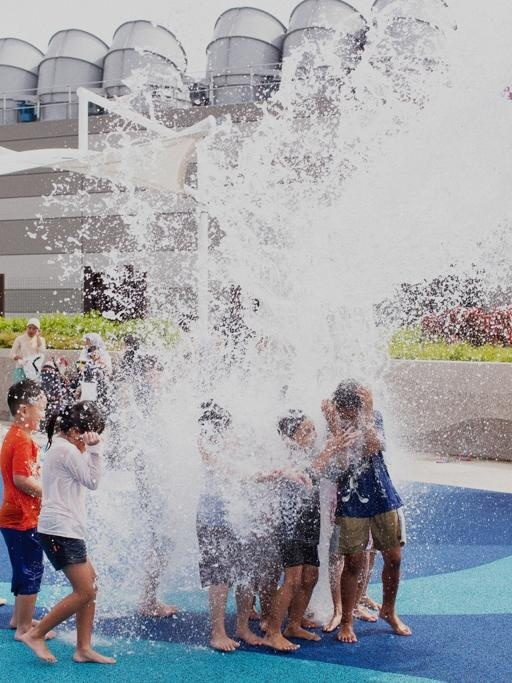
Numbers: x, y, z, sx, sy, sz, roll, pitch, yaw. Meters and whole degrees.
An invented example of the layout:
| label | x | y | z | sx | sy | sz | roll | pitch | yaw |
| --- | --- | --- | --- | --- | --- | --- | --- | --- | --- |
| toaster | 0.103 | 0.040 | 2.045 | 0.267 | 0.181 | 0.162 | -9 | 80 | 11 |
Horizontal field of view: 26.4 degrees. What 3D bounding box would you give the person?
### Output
| label | x | y | z | sx | sy | sz | roll | pitch | yaw |
| --- | --- | --- | --- | --- | --- | --- | --- | --- | --- |
| person | -0.289 | 0.951 | 6.732 | 1.700 | 1.625 | 0.605 | -3 | -28 | 0 |
